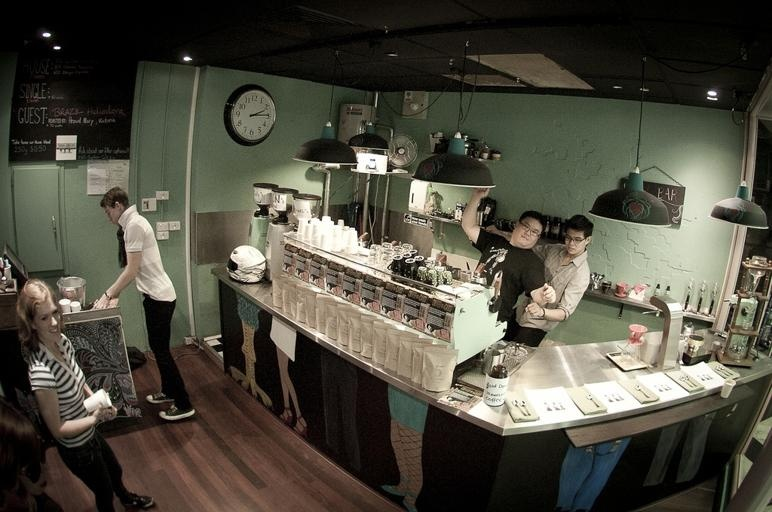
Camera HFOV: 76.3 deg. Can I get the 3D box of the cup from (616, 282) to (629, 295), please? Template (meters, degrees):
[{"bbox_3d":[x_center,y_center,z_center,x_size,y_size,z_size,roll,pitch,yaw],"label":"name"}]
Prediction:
[{"bbox_3d":[2.848,0.403,5.940,0.143,0.121,0.142,0,3,0],"label":"cup"}]

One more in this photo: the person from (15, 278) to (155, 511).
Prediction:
[{"bbox_3d":[-2.640,1.259,4.316,0.660,2.227,0.704,-13,48,-17],"label":"person"}]

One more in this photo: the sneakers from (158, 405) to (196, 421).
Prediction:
[{"bbox_3d":[-2.277,1.727,5.417,0.387,0.146,0.149,5,0,-21],"label":"sneakers"}]

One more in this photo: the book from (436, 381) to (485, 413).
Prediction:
[{"bbox_3d":[0.635,1.180,4.075,0.281,0.092,0.310,13,16,35],"label":"book"}]

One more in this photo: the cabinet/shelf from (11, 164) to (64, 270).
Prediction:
[{"bbox_3d":[-3.912,-0.411,5.552,0.476,1.211,0.116,-6,16,-32],"label":"cabinet/shelf"}]

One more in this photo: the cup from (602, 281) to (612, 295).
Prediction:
[{"bbox_3d":[2.724,0.387,6.046,0.155,0.137,0.069,-4,15,-27],"label":"cup"}]

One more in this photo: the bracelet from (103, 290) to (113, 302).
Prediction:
[{"bbox_3d":[-2.887,0.415,5.113,0.067,0.089,0.025,28,36,19],"label":"bracelet"}]

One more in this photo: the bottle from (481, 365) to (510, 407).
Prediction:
[{"bbox_3d":[0.912,1.060,3.999,0.222,0.326,0.147,1,14,-8],"label":"bottle"}]

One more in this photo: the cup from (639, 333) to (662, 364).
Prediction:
[{"bbox_3d":[2.533,0.882,4.723,0.166,0.271,0.245,11,15,29],"label":"cup"}]

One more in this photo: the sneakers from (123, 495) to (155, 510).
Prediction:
[{"bbox_3d":[-2.192,2.211,4.455,0.306,0.133,0.108,8,29,-24],"label":"sneakers"}]

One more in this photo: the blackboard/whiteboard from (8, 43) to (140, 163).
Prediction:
[{"bbox_3d":[-3.497,-1.718,5.428,1.360,1.308,0.064,-2,15,-45],"label":"blackboard/whiteboard"}]

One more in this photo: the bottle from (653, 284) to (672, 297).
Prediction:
[{"bbox_3d":[3.290,0.410,5.845,0.181,0.123,0.108,10,15,28],"label":"bottle"}]

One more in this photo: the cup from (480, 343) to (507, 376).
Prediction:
[{"bbox_3d":[0.969,0.909,4.355,0.167,0.225,0.308,-2,3,-30],"label":"cup"}]

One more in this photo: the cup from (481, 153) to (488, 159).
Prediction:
[{"bbox_3d":[1.334,-1.351,6.642,0.074,0.069,0.038,7,15,20],"label":"cup"}]

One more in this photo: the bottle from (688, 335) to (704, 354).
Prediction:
[{"bbox_3d":[2.970,0.829,4.727,0.155,0.196,0.101,4,3,22],"label":"bottle"}]

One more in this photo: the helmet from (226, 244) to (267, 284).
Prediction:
[{"bbox_3d":[-1.634,0.080,5.675,0.456,0.364,0.365,20,18,28],"label":"helmet"}]

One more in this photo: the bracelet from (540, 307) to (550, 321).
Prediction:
[{"bbox_3d":[1.674,0.590,5.170,0.065,0.174,0.130,4,-25,8],"label":"bracelet"}]

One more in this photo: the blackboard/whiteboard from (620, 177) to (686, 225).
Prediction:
[{"bbox_3d":[2.604,-0.520,4.746,0.597,0.421,0.082,20,6,19],"label":"blackboard/whiteboard"}]

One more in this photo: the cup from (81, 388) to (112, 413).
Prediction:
[{"bbox_3d":[-2.322,1.146,3.957,0.182,0.170,0.174,6,28,-3],"label":"cup"}]

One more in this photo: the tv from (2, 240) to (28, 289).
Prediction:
[{"bbox_3d":[-3.800,0.093,5.032,0.140,0.356,0.378,-31,46,-10],"label":"tv"}]

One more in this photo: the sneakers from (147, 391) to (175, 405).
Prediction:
[{"bbox_3d":[-2.565,1.632,5.631,0.355,0.133,0.137,8,3,-9],"label":"sneakers"}]

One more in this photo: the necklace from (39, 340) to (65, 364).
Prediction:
[{"bbox_3d":[-2.538,0.732,3.729,0.027,0.169,0.151,-26,17,18],"label":"necklace"}]

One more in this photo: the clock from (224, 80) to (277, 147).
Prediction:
[{"bbox_3d":[-1.834,-1.922,6.556,0.894,0.855,0.195,-10,17,-43],"label":"clock"}]

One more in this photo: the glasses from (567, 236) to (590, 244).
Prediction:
[{"bbox_3d":[2.142,-0.173,5.514,0.229,0.104,0.227,7,14,17],"label":"glasses"}]
